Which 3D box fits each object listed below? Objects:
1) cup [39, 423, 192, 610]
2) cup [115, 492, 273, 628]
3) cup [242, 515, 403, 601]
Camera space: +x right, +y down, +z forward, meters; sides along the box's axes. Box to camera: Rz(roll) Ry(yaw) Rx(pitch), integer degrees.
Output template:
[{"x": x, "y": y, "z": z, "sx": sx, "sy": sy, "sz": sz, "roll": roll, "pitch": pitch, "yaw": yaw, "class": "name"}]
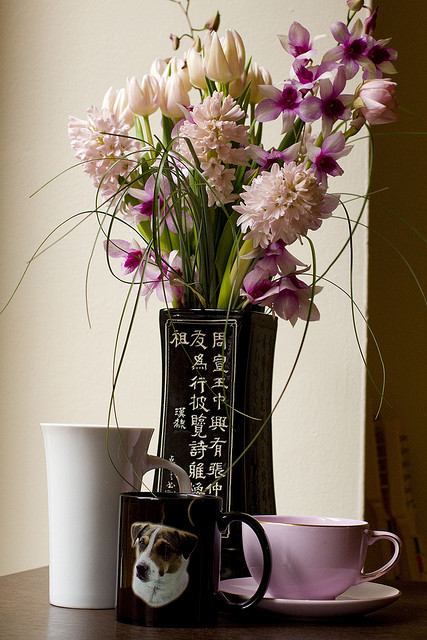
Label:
[{"x": -0.091, "y": 0.152, "z": 0.467, "sx": 0.122, "sy": 0.135, "sz": 0.092, "roll": 14, "pitch": -18, "yaw": -38, "class": "cup"}, {"x": -0.012, "y": 0.156, "z": 0.369, "sx": 0.099, "sy": 0.088, "sz": 0.063, "roll": 5, "pitch": 3, "yaw": 28, "class": "cup"}, {"x": 0.085, "y": 0.185, "z": 0.431, "sx": 0.116, "sy": 0.065, "sz": 0.101, "roll": -3, "pitch": -20, "yaw": 22, "class": "cup"}]
